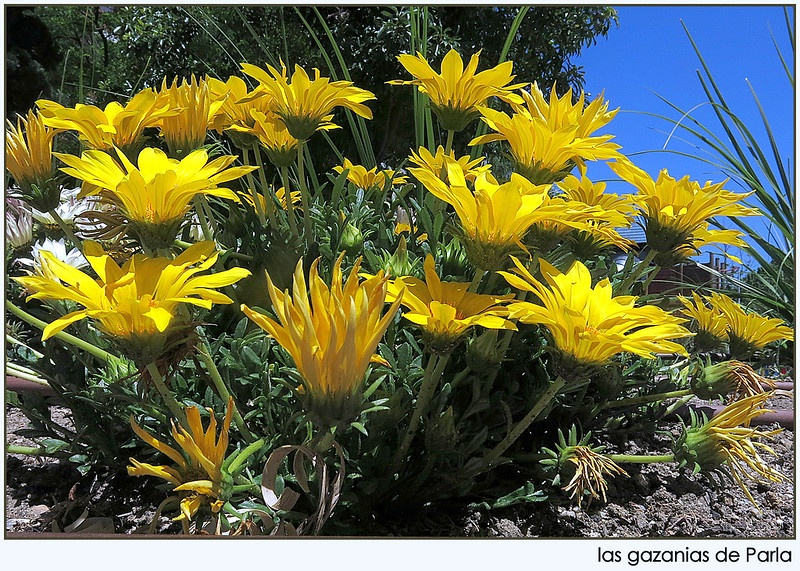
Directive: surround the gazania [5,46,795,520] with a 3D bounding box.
[{"bbox_3d":[-0.039,0.060,1.336,1.272,0.760,1.260,3,5,-2],"label":"gazania"}]
